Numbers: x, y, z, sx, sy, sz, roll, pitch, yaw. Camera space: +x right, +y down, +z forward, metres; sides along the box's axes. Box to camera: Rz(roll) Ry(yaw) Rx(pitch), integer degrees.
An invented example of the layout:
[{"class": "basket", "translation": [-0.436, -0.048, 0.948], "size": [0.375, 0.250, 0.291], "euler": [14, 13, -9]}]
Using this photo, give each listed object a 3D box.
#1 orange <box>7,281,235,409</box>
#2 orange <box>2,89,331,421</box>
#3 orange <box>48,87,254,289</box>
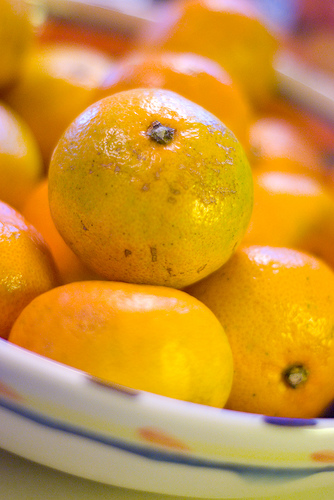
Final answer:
[{"class": "orange", "translation": [-0.027, 0.053, 0.308], "size": [0.135, 0.088, 0.074], "euler": [5, 88, 12]}, {"class": "orange", "translation": [-0.050, -0.011, 0.411], "size": [0.189, 0.123, 0.292], "euler": [-24, 52, -26]}, {"class": "orange", "translation": [-0.010, -0.040, 0.399], "size": [0.146, 0.136, 0.139], "euler": [-22, 75, -23]}]
